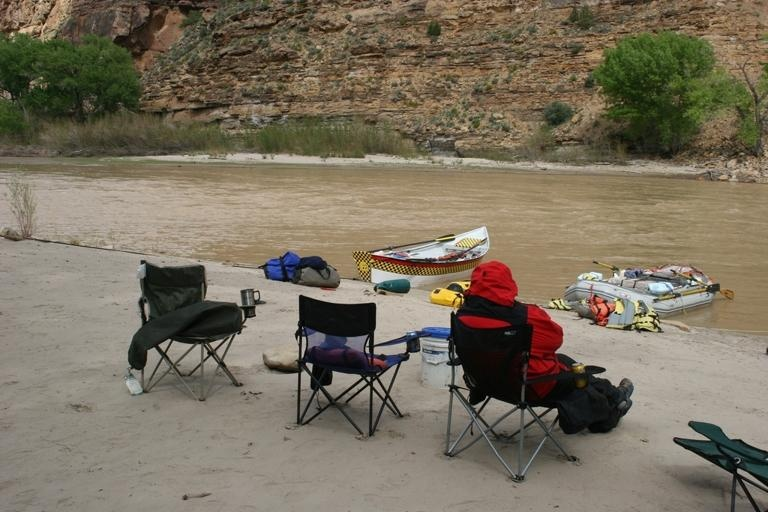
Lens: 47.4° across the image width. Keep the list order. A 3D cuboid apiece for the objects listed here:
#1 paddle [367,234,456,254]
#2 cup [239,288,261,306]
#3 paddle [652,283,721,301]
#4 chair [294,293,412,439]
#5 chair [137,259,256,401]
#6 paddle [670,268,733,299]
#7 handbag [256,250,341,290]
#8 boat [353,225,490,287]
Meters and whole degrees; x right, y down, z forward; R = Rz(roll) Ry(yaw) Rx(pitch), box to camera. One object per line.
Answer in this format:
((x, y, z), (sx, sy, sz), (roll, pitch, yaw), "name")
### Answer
((0.746, -0.303, 24.892), (3.066, 0.171, 0.200), (-9, -19, -13), "paddle")
((-2.753, 0.881, 18.571), (0.597, 0.440, 0.343), (4, -7, -15), "cup")
((7.488, 0.820, 21.789), (1.193, 0.245, 0.633), (-3, 3, -10), "paddle")
((-0.552, 2.105, 17.141), (2.703, 2.287, 1.904), (3, 2, 16), "chair")
((-4.058, 1.418, 17.426), (2.139, 2.502, 1.669), (-1, 13, -12), "chair")
((7.967, 0.864, 22.106), (0.862, 0.266, 1.314), (3, 18, -4), "paddle")
((-2.066, 0.382, 22.013), (1.439, 0.445, 1.003), (5, 3, 16), "handbag")
((1.182, 0.118, 23.703), (3.815, 1.222, 1.080), (-7, 15, -37), "boat")
